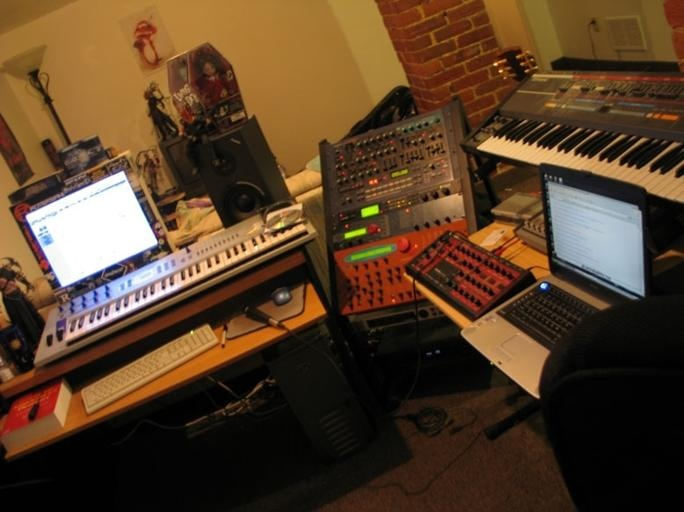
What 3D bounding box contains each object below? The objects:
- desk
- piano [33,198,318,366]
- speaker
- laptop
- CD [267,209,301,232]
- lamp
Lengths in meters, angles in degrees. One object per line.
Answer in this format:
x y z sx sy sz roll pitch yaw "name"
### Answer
-0.786 0.481 2.950 1.227 1.035 0.774 -33 14 9 "desk"
-0.839 0.121 2.873 1.446 0.251 0.379 -24 23 -5 "piano"
-0.540 -0.416 3.175 0.350 0.551 0.337 -16 20 20 "speaker"
0.691 0.055 1.946 0.562 0.554 0.419 -28 24 -13 "laptop"
-0.286 -0.185 2.852 0.136 0.036 0.135 -22 33 14 "CD"
-2.473 -1.334 4.812 0.413 0.794 0.115 -30 24 -16 "lamp"
